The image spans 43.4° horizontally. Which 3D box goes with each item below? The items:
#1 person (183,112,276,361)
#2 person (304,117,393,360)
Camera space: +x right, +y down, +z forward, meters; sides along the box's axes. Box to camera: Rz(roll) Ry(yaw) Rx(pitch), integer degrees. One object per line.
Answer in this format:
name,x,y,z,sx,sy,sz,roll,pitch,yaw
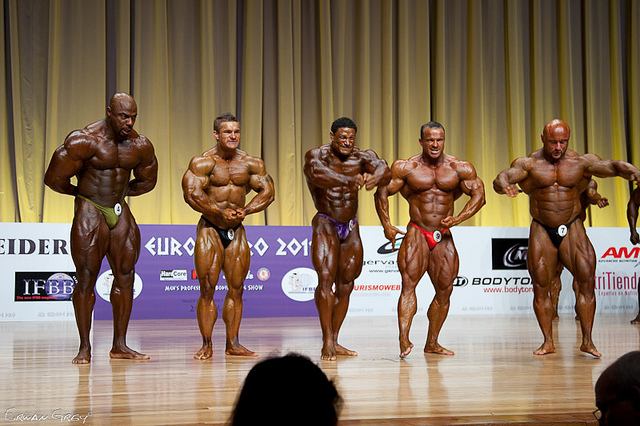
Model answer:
person,-1.149,0.256,9.858,1.001,2.388,0.416,-1,0,-7
person,0.283,0.283,9.880,0.914,2.555,0.615,-1,0,-2
